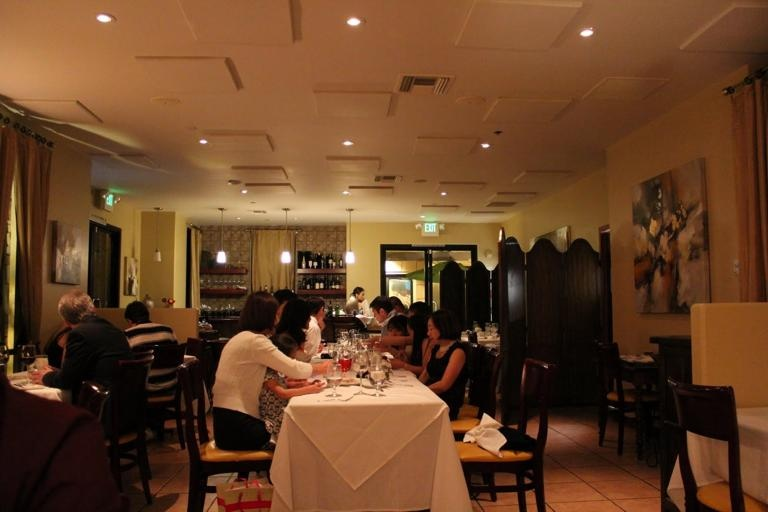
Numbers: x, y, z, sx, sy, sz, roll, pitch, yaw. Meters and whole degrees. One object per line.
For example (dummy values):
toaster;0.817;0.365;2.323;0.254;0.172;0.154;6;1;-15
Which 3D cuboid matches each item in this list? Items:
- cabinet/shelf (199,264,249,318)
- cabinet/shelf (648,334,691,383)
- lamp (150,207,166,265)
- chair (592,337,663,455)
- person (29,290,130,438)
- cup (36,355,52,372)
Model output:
cabinet/shelf;-3.689;0.749;13.015;1.055;1.103;0.367;1;-1;-1
cabinet/shelf;2.541;0.917;5.029;0.294;0.415;0.264;-1;-5;23
lamp;-4.758;-0.441;11.976;0.203;1.109;0.682;2;-4;-21
chair;2.921;1.597;6.429;0.868;1.061;0.895;-10;-19;30
person;-2.705;1.066;5.234;0.821;1.494;0.706;3;13;10
cup;-3.021;0.958;5.065;0.121;0.124;0.121;0;-9;0
